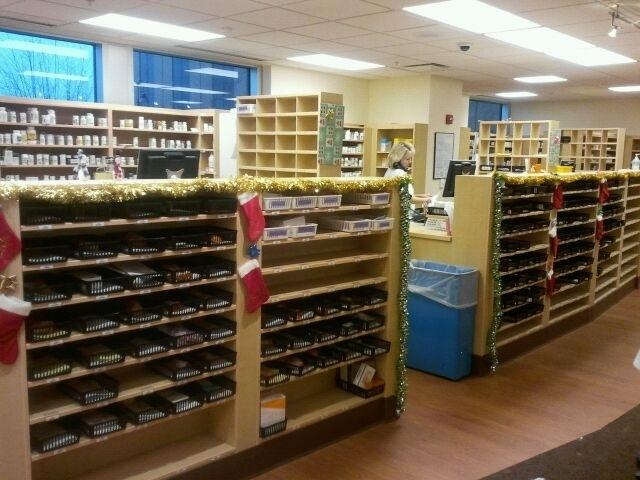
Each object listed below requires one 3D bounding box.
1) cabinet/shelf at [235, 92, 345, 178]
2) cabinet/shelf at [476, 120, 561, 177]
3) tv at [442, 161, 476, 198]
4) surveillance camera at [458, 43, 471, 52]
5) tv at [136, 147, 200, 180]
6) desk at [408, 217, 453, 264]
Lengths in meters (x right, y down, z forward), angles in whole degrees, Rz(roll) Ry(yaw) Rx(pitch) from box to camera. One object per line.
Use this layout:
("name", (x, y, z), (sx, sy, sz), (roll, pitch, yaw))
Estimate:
("cabinet/shelf", (-0.561, -1.943, 8.795), (1.903, 1.333, 0.590), (4, 7, 38))
("cabinet/shelf", (4.659, -2.085, 11.490), (0.617, 1.412, 1.862), (-1, 12, -31))
("tv", (1.873, -0.816, 6.275), (0.548, 0.412, 0.217), (11, 2, 42))
("surveillance camera", (2.360, -3.155, 7.940), (0.191, 0.052, 0.160), (-1, 6, 0))
("tv", (-1.333, -0.673, 4.297), (0.622, 0.336, 0.216), (-7, 25, -32))
("desk", (1.306, 0.021, 5.676), (0.574, 0.419, 0.386), (12, 19, 44))
